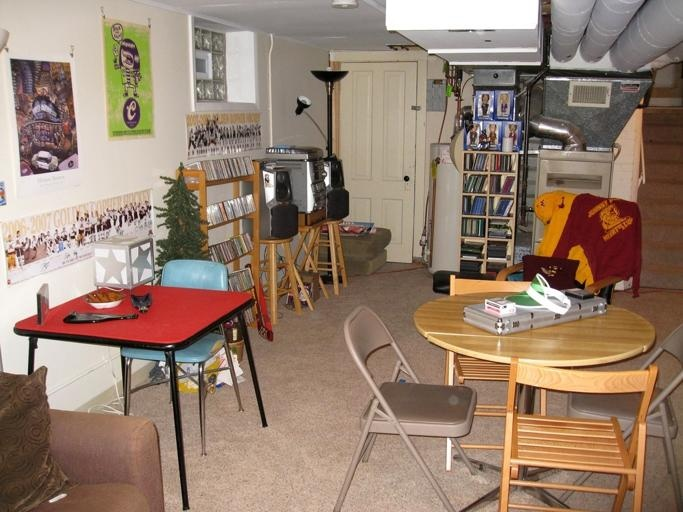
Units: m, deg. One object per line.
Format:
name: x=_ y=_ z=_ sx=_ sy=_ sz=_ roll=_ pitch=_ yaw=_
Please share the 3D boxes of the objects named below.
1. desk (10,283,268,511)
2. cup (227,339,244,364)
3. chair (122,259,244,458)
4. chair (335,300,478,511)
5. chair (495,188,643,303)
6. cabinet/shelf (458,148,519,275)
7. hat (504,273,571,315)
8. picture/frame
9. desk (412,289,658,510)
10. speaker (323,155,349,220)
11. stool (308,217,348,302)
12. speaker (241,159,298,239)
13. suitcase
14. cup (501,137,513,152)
desk: x=-1.205 y=0.762 z=3.501 sx=1.252 sy=0.960 sz=1.181 roll=5 pitch=14 yaw=12
cup: x=-0.860 y=0.791 z=4.528 sx=0.151 sy=0.164 sz=0.154 roll=1 pitch=15 yaw=0
chair: x=-1.074 y=0.656 z=3.707 sx=0.677 sy=1.088 sz=0.707 roll=1 pitch=12 yaw=7
chair: x=0.359 y=0.841 z=2.987 sx=0.719 sy=1.093 sz=0.590 roll=2 pitch=14 yaw=15
chair: x=1.891 y=0.023 z=4.617 sx=1.054 sy=1.104 sz=1.048 roll=5 pitch=8 yaw=-20
cabinet/shelf: x=1.735 y=-0.495 z=6.447 sx=0.610 sy=1.542 sz=0.387 roll=3 pitch=23 yaw=16
hat: x=1.153 y=0.212 z=3.155 sx=0.337 sy=0.155 sz=0.251 roll=18 pitch=19 yaw=20
picture/frame: x=1.739 y=-1.543 z=6.242 sx=0.627 sy=0.689 sz=0.211 roll=2 pitch=14 yaw=14
desk: x=1.093 y=0.587 z=3.094 sx=1.061 sy=0.700 sz=1.083 roll=-1 pitch=25 yaw=6
speaker: x=-0.074 y=-0.781 z=6.434 sx=0.248 sy=0.738 sz=0.406 roll=4 pitch=15 yaw=22
stool: x=-0.169 y=0.001 z=6.703 sx=0.616 sy=0.831 sz=0.609 roll=0 pitch=1 yaw=-28
speaker: x=-0.691 y=-0.548 z=5.615 sx=0.479 sy=0.727 sz=0.509 roll=4 pitch=11 yaw=20
suitcase: x=1.090 y=0.347 z=3.067 sx=0.593 sy=0.105 sz=0.302 roll=-7 pitch=11 yaw=-27
cup: x=1.871 y=-1.244 z=6.137 sx=0.139 sy=0.162 sz=0.142 roll=1 pitch=4 yaw=0
